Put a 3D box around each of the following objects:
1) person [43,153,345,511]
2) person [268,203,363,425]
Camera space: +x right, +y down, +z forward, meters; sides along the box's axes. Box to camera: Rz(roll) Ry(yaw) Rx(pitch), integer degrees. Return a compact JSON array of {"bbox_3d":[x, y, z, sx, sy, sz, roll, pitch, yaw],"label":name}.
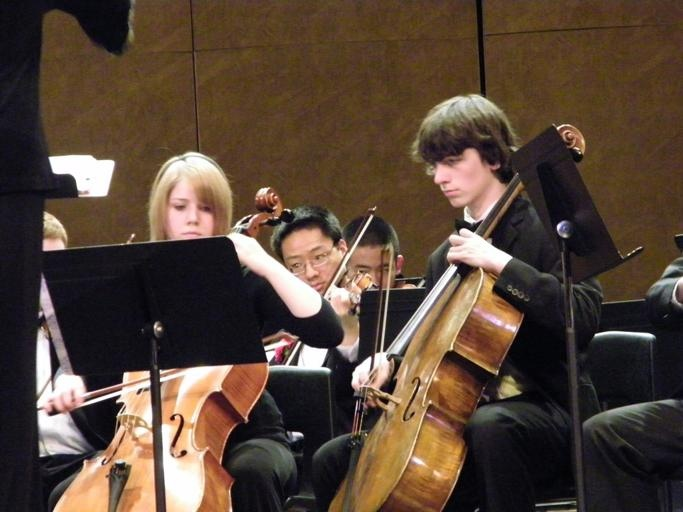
[{"bbox_3d":[-0.510,0.153,3.398,1.075,1.418,0.473,-13,-18,21],"label":"person"},{"bbox_3d":[-0.077,0.221,4.706,0.390,1.035,0.182,-4,-35,14],"label":"person"}]
